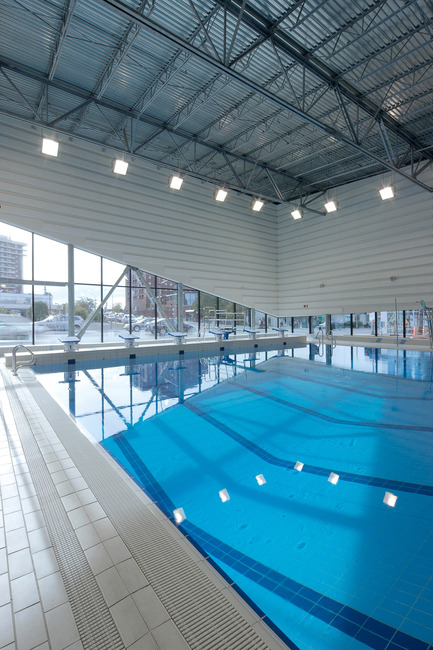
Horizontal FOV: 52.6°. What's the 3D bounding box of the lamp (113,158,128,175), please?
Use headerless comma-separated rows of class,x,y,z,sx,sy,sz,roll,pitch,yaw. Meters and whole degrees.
lamp,-1.888,-3.158,8.696,0.310,0.247,0.209,-2,2,-43

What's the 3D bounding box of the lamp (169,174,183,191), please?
lamp,-0.897,-3.205,9.740,0.227,0.391,0.626,-1,2,1

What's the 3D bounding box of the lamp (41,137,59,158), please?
lamp,-2.895,-3.135,7.665,0.225,0.259,0.312,-1,1,-16
